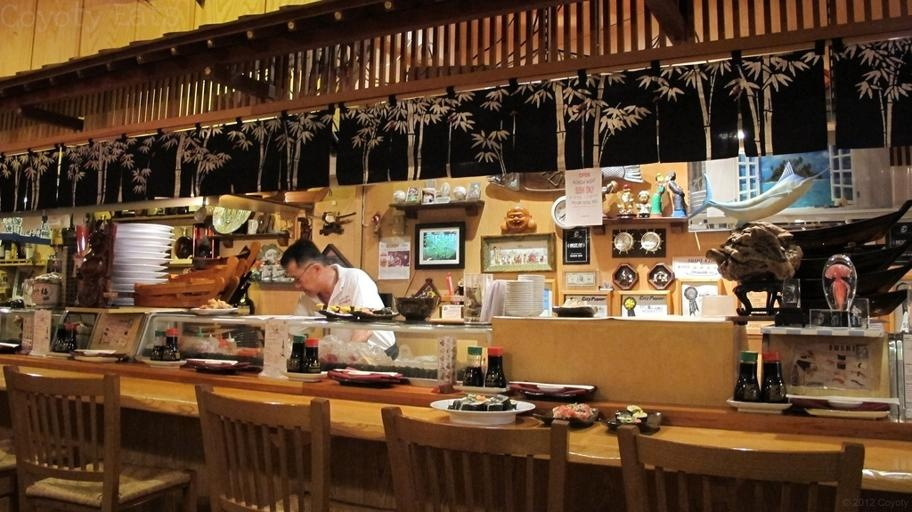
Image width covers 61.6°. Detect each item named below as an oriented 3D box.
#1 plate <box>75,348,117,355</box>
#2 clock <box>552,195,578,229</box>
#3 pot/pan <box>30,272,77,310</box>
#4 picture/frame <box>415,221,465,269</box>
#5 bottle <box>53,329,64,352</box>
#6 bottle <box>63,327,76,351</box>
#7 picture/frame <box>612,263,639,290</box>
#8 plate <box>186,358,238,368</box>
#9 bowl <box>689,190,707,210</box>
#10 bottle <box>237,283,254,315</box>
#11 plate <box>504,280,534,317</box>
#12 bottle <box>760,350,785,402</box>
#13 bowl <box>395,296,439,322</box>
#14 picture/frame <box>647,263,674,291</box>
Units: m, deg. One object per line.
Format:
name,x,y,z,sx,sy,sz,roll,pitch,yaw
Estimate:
plate,-2.896,0.767,6.155,0.306,0.031,0.178,1,-4,-18
clock,1.080,-0.473,7.990,0.221,0.352,0.195,-3,-5,36
pot/pan,-3.583,0.311,6.780,0.369,0.321,0.359,0,-10,-7
picture/frame,-0.159,-0.125,8.426,0.602,0.450,0.046,0,-7,19
bottle,-3.265,0.684,6.289,0.107,0.190,0.038,-2,-5,19
bottle,-3.172,0.679,6.283,0.099,0.196,0.076,2,-5,-26
picture/frame,1.737,0.206,7.806,0.306,0.273,0.041,0,-10,35
plate,-1.858,0.811,5.802,0.251,0.042,0.145,0,-6,12
bowl,2.302,-0.544,7.275,0.061,0.182,0.254,1,-4,-16
bottle,-2.459,0.499,9.042,0.153,0.350,0.367,1,-4,-15
plate,0.441,0.303,5.594,0.261,0.249,0.243,2,0,21
bottle,1.995,0.761,4.822,0.152,0.314,0.095,-2,-5,19
bowl,-0.308,0.390,5.640,0.285,0.188,0.237,-3,-5,38
picture/frame,2.064,0.205,7.690,0.286,0.254,0.037,9,-5,31
